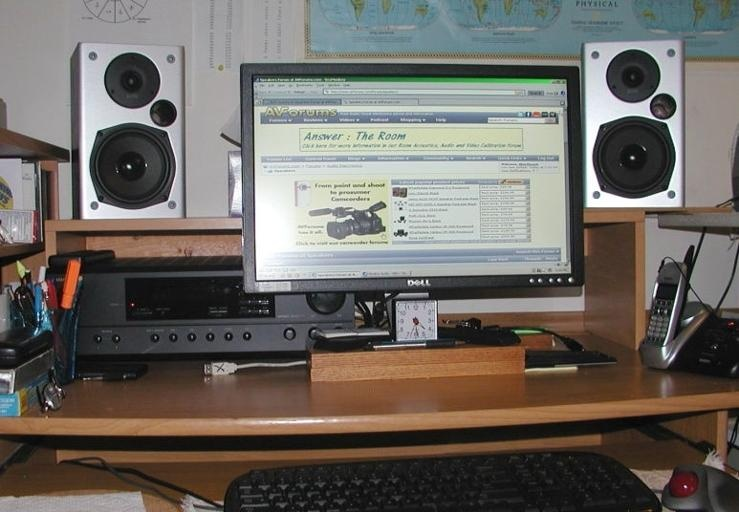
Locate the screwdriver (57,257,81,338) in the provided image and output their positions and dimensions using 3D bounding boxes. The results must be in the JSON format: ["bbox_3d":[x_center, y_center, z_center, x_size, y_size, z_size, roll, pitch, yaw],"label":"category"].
[{"bbox_3d":[-0.685,0.097,1.572,0.042,0.185,0.044,6,7,-7],"label":"screwdriver"}]

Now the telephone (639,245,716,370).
[{"bbox_3d":[0.703,0.123,1.638,0.176,0.298,0.164,8,7,15],"label":"telephone"}]

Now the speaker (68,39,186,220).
[{"bbox_3d":[-0.605,-0.324,1.769,0.295,0.455,0.273,1,7,-14],"label":"speaker"}]

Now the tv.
[{"bbox_3d":[0.084,-0.138,1.624,0.870,0.709,0.173,-1,2,-4],"label":"tv"}]
